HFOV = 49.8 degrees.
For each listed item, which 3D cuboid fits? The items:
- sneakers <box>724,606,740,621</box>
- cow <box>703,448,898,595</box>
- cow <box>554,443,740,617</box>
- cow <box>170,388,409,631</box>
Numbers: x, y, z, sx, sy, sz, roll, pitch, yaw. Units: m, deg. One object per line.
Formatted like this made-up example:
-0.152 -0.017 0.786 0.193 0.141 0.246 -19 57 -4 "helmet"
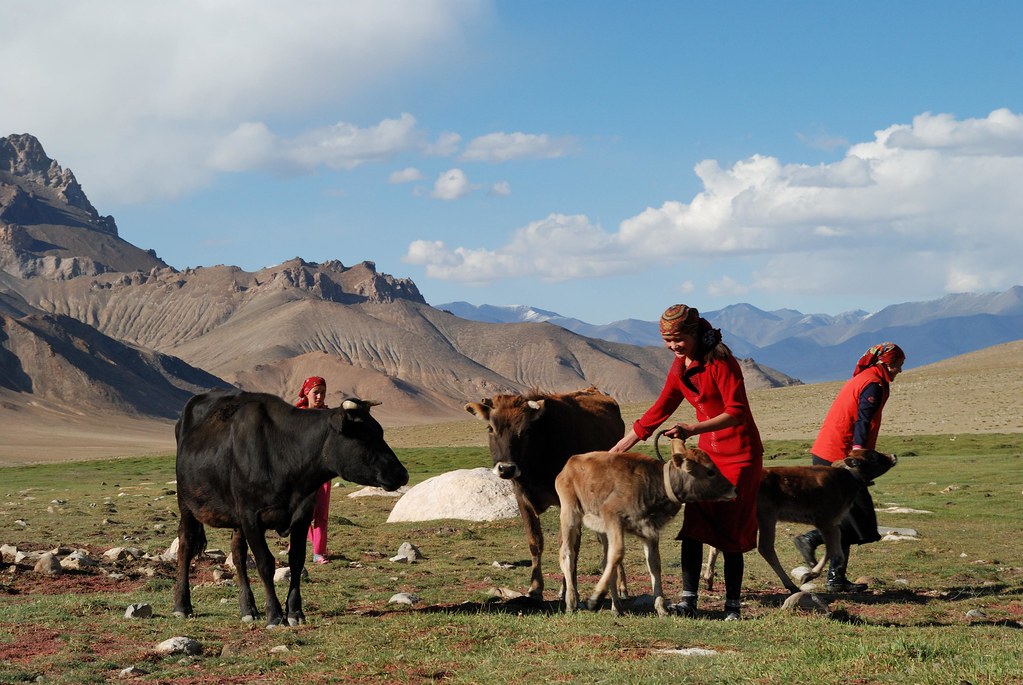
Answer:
3.416 4.163 16.859 0.200 0.290 0.238 8 -5 -12 "sneakers"
4.936 3.019 18.666 3.915 2.141 1.015 1 -4 -22 "cow"
1.954 2.919 17.208 1.258 2.581 3.682 7 -14 -37 "cow"
-3.884 2.847 18.327 2.028 3.651 6.044 6 -10 -44 "cow"
